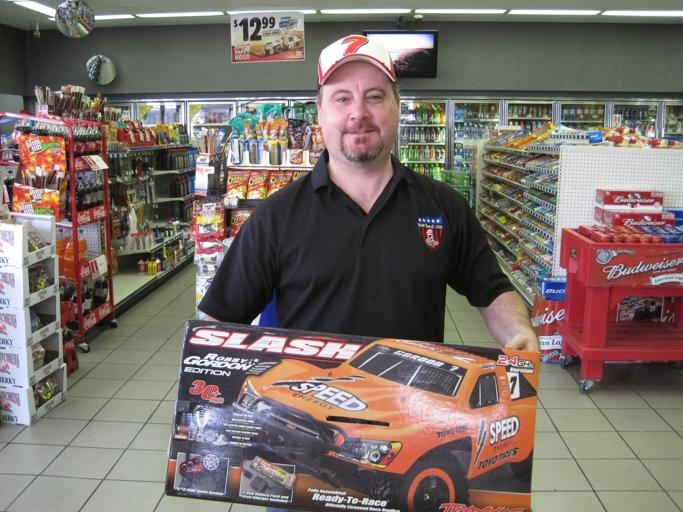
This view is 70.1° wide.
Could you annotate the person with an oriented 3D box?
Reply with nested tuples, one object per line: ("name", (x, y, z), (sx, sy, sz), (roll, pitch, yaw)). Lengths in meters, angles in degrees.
("person", (0.080, -0.171, 1.634), (1.167, 1.048, 0.633), (-3, 10, -10))

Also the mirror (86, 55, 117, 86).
("mirror", (-4.872, -3.766, 9.850), (0.559, 0.575, 0.258), (3, 15, 11))
